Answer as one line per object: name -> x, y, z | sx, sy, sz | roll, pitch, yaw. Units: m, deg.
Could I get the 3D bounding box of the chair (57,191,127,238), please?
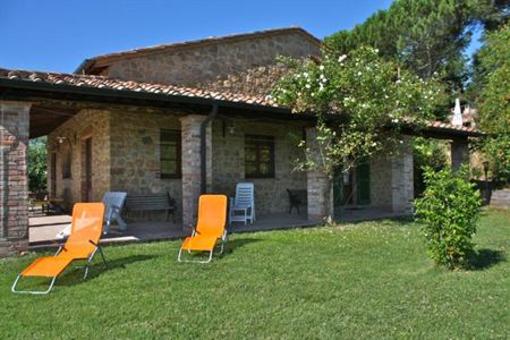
chair -> -4.287, 1.161, 11.433 | 0.901, 0.953, 1.540 | 5, 5, 28

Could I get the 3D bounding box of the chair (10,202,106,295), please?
chair -> -3.934, 1.558, 8.578 | 0.949, 1.382, 1.992 | 0, 7, 16

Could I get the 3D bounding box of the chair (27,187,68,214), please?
chair -> -8.031, 1.230, 16.323 | 1.275, 0.580, 1.270 | -1, 0, -21

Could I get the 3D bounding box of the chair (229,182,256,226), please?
chair -> -0.424, 1.052, 13.116 | 0.766, 1.137, 0.887 | 2, 8, 23

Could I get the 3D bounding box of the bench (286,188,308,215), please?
bench -> 1.500, 1.120, 15.269 | 0.735, 0.851, 0.645 | 0, 4, -10

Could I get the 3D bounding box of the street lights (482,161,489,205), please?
street lights -> 9.801, 0.589, 17.817 | 0.327, 1.980, 0.334 | -1, 0, -14

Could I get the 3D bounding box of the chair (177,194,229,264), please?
chair -> -1.198, 1.318, 9.881 | 1.003, 1.344, 1.438 | 1, 3, 5
